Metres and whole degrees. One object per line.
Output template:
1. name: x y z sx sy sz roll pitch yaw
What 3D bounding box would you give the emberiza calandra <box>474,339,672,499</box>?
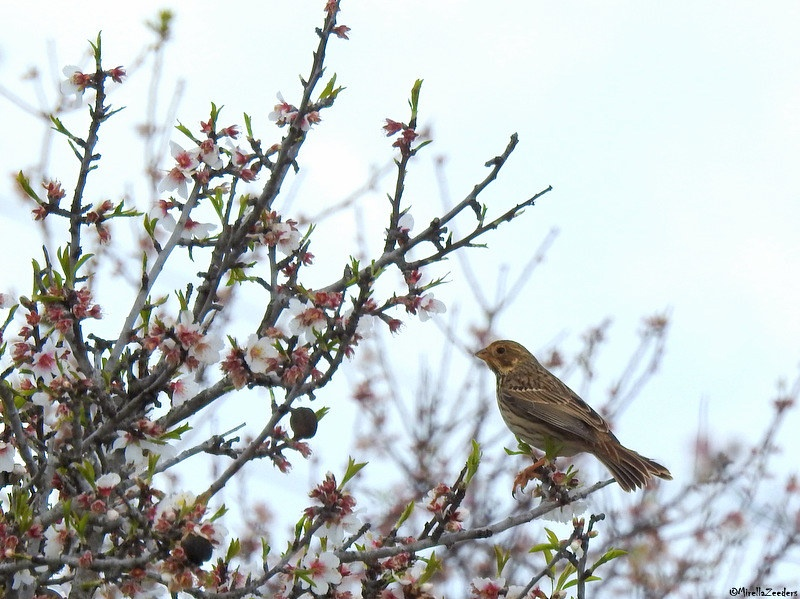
1. emberiza calandra: 1.120 0.905 9.373 1.358 0.538 0.940 23 -28 31
